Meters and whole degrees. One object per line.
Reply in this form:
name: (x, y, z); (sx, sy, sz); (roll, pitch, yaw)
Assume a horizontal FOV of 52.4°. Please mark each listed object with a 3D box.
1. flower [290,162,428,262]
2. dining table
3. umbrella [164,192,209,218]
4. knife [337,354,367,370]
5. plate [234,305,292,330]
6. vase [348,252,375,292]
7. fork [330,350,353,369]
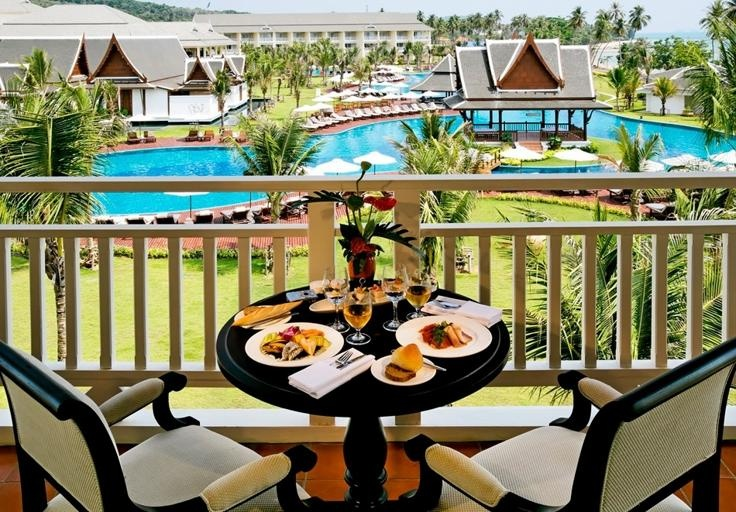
flower: (-0.012, -0.130, 3.322); (0.508, 0.419, 0.499); (-4, 19, -44)
dining table: (-0.032, 0.611, 2.752); (0.827, 0.508, 0.828); (9, 23, 26)
umbrella: (-5.236, -1.683, 21.912); (1.064, 0.785, 5.430); (-5, 11, -13)
knife: (-0.055, 0.371, 2.616); (0.015, 0.015, 0.106); (43, 40, 17)
plate: (-0.401, 0.233, 2.936); (0.145, 0.033, 0.108); (-13, 27, -35)
vase: (-0.015, 0.031, 3.105); (0.113, 0.162, 0.125); (3, 28, 2)
fork: (-0.085, 0.359, 2.625); (0.027, 0.013, 0.098); (8, 21, 12)
